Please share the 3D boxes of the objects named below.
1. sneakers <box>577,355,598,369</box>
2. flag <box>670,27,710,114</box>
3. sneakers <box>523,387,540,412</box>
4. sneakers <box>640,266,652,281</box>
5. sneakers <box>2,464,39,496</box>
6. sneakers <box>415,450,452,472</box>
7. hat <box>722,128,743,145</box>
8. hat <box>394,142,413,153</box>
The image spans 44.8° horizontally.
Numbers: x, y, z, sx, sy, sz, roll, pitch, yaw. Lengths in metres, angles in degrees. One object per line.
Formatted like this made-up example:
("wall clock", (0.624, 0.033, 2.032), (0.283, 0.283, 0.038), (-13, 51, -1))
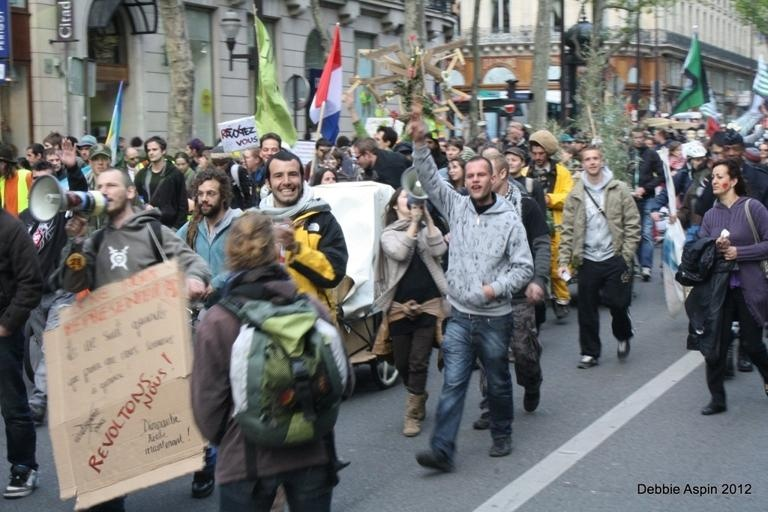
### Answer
("sneakers", (2.412, 1.251, 11.069), (0.111, 0.123, 0.328), (-6, -9, 33))
("flag", (8.138, -4.907, 24.598), (0.870, 2.186, 3.669), (2, 12, 19))
("sneakers", (1.485, 1.467, 9.433), (0.113, 0.304, 0.126), (1, -8, 23))
("sneakers", (4.571, 0.319, 16.275), (0.114, 0.143, 0.326), (-3, -19, 9))
("sneakers", (-3.097, 1.906, 7.949), (0.288, 0.264, 0.188), (-6, 12, -23))
("sneakers", (0.442, 1.796, 8.234), (0.405, 0.132, 0.165), (18, 6, -19))
("hat", (4.154, -1.420, 11.070), (0.285, 0.231, 0.324), (-2, 7, 2))
("hat", (0.286, -1.533, 13.186), (0.201, 0.133, 0.267), (1, -11, 1))
